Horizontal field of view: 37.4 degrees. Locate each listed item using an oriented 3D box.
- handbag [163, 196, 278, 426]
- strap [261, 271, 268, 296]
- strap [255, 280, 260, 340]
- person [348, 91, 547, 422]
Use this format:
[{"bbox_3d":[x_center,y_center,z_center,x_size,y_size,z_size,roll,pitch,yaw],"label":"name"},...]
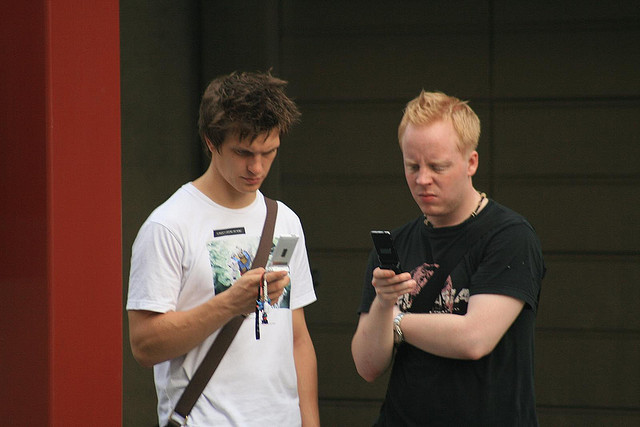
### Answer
[{"bbox_3d":[-0.723,0.747,6.609,0.152,1.614,0.235,23,7,43],"label":"handbag"},{"bbox_3d":[-0.390,0.478,6.478,0.028,0.144,0.036,3,3,15],"label":"strap"},{"bbox_3d":[-0.433,0.669,6.563,0.035,0.423,0.169,2,3,-3],"label":"strap"},{"bbox_3d":[0.909,0.332,6.621,1.279,2.360,0.552,3,3,13],"label":"person"}]
